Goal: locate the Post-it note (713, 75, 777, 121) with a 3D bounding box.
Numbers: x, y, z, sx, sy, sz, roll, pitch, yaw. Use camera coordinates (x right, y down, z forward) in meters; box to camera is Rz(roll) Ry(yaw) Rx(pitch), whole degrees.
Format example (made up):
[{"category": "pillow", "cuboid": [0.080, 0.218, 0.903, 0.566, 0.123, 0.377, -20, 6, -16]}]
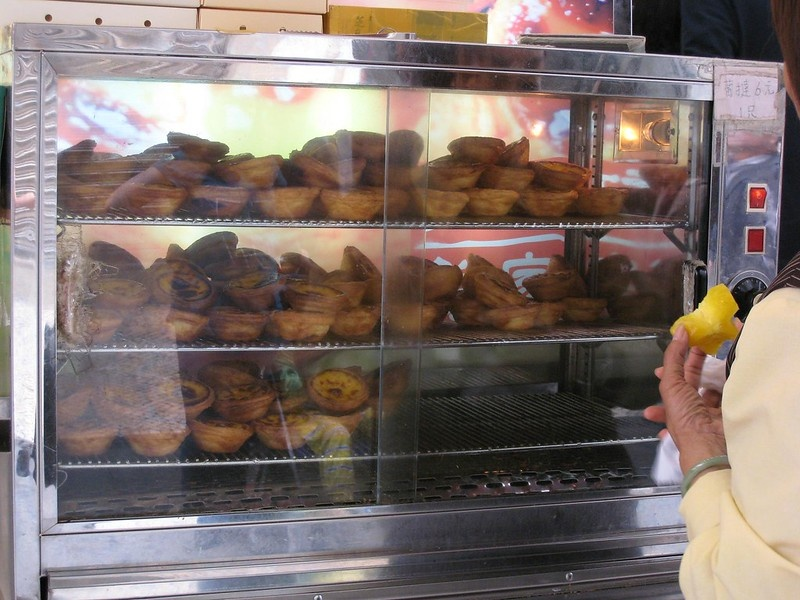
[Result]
[{"category": "Post-it note", "cuboid": [1.169, -0.686, 2.786, 0.316, 0.139, 0.052, 2, 5, -8]}]
